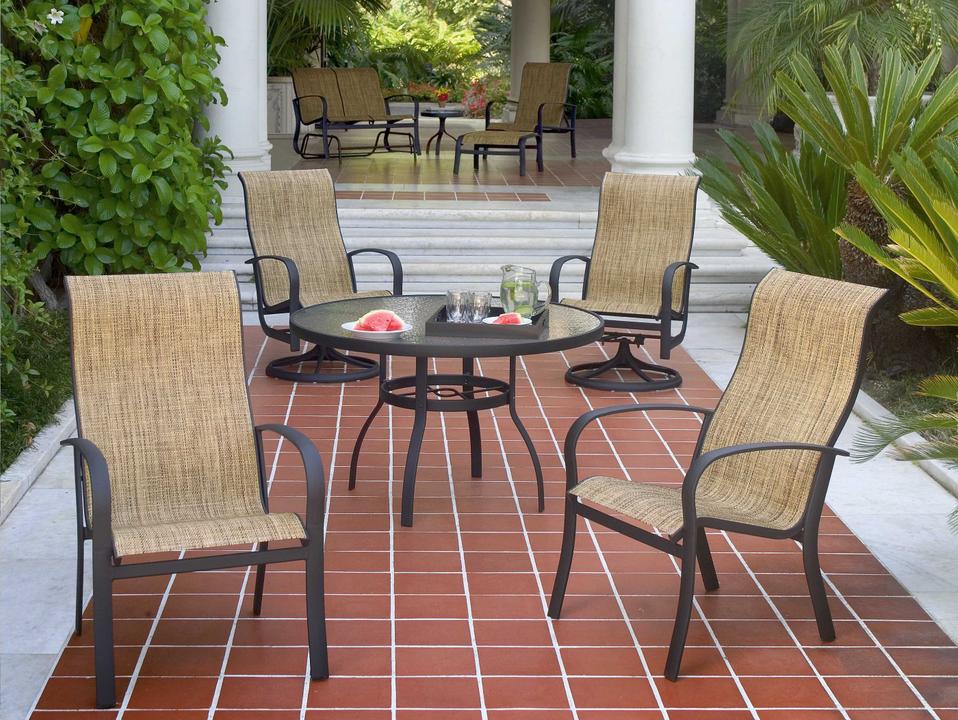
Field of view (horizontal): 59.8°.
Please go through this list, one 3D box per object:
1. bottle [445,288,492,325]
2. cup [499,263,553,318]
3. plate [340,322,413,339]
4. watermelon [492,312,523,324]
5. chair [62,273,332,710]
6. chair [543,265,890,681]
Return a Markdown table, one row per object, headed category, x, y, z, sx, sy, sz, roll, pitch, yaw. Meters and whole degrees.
| category | x | y | z | sx | sy | sz | roll | pitch | yaw |
| --- | --- | --- | --- | --- | --- | --- | --- | --- | --- |
| bottle | -0.052 | -0.248 | 3.917 | 0.203 | 0.146 | 0.203 | -1 | 18 | 0 |
| cup | 0.236 | -0.352 | 4.195 | 0.402 | 0.270 | 0.252 | 3 | 5 | 5 |
| plate | -0.484 | -0.142 | 3.882 | 0.341 | 0.051 | 0.249 | -2 | 16 | -3 |
| watermelon | 0.139 | -0.199 | 3.913 | 0.104 | 0.036 | 0.110 | 0 | 7 | 1 |
| chair | -1.052 | 0.395 | 2.944 | 0.895 | 1.339 | 1.134 | -9 | 21 | -17 |
| chair | 0.847 | 0.377 | 3.105 | 1.280 | 1.112 | 1.002 | -10 | 10 | -5 |
